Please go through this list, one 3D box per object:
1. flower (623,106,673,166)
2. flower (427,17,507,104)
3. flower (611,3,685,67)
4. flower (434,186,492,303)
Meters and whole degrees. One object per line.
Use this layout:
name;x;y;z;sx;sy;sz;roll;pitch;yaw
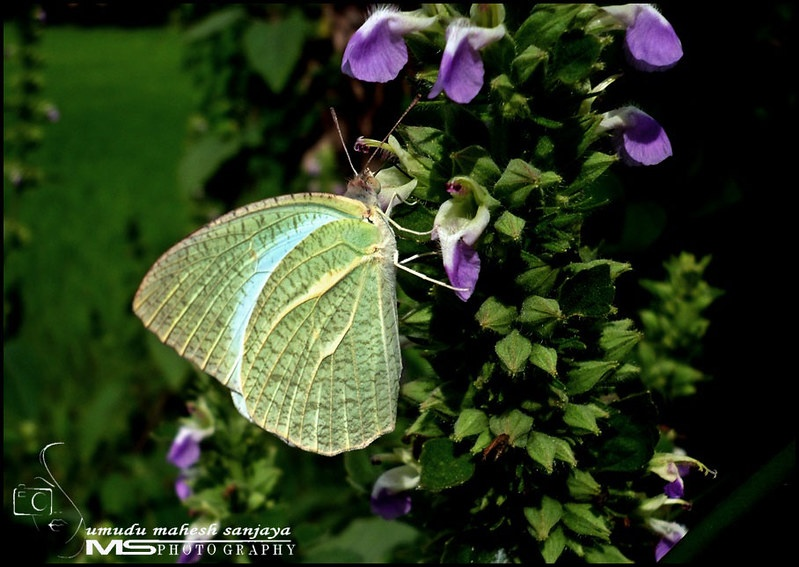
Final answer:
flower;0.823;-0.502;2.982;0.184;0.071;0.185;62;24;5
flower;0.183;-0.709;2.694;0.219;0.267;0.120;-2;-12;21
flower;0.828;-0.825;2.881;0.198;0.229;0.106;3;14;-8
flower;0.199;-0.136;2.851;0.213;0.356;0.144;5;4;37
